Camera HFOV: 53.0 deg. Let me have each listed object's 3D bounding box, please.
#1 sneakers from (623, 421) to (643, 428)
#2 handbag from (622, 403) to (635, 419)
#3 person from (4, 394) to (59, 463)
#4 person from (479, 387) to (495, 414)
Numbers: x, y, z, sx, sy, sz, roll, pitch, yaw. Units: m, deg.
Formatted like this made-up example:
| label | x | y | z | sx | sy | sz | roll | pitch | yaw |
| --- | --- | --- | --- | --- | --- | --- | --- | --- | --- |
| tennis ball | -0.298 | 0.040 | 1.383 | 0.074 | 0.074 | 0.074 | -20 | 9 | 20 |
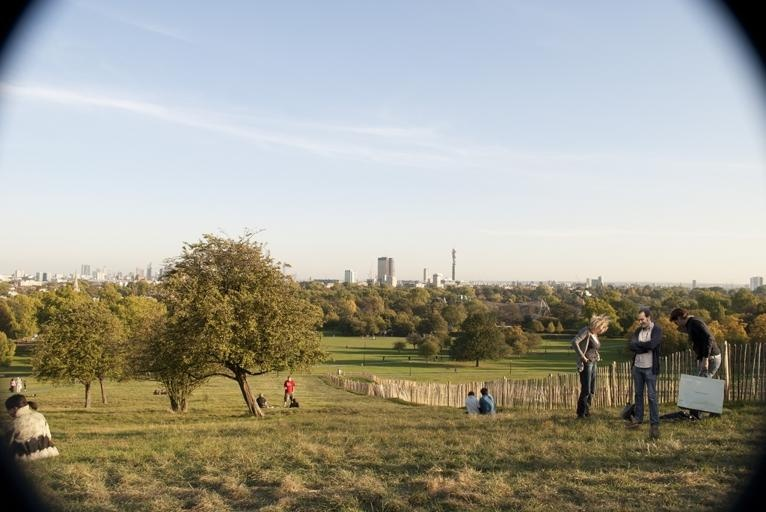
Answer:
| label | x | y | z | sx | sy | sz | roll | pitch | yaw |
| --- | --- | --- | --- | --- | --- | --- | --- | --- | --- |
| sneakers | 8.954 | 6.103 | 27.590 | 0.646 | 0.283 | 0.221 | -1 | -10 | 38 |
| handbag | 8.963 | 5.782 | 28.133 | 0.458 | 0.892 | 0.686 | -1 | -12 | 24 |
| person | -11.961 | 5.850 | 26.052 | 0.577 | 2.208 | 1.434 | -2 | -6 | 34 |
| person | 4.647 | 6.532 | 34.416 | 0.654 | 1.141 | 0.815 | 1 | -5 | 11 |
